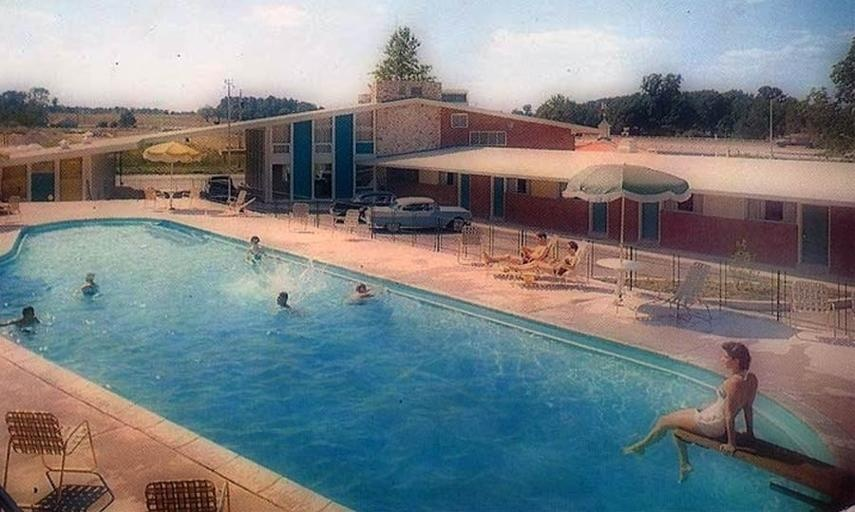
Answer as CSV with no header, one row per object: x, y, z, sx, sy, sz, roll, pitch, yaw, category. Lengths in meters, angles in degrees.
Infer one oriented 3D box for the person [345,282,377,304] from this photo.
-2.266,1.357,20.193,0.757,0.696,0.264,-28,20,12,person

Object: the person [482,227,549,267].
3.496,-0.297,22.478,2.631,1.346,1.178,1,7,9,person

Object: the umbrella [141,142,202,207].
-15.957,-5.007,37.046,3.759,4.155,3.668,9,11,32,umbrella

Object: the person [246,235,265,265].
-7.185,-0.259,24.802,0.734,1.116,1.138,-3,9,-16,person

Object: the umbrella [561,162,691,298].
6.837,-1.054,20.912,4.405,4.148,4.303,6,11,25,umbrella

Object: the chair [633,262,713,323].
7.704,1.144,18.092,2.547,1.728,1.593,-5,7,-8,chair

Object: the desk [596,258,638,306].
6.474,0.916,20.098,1.069,1.114,1.042,-8,24,-12,desk
